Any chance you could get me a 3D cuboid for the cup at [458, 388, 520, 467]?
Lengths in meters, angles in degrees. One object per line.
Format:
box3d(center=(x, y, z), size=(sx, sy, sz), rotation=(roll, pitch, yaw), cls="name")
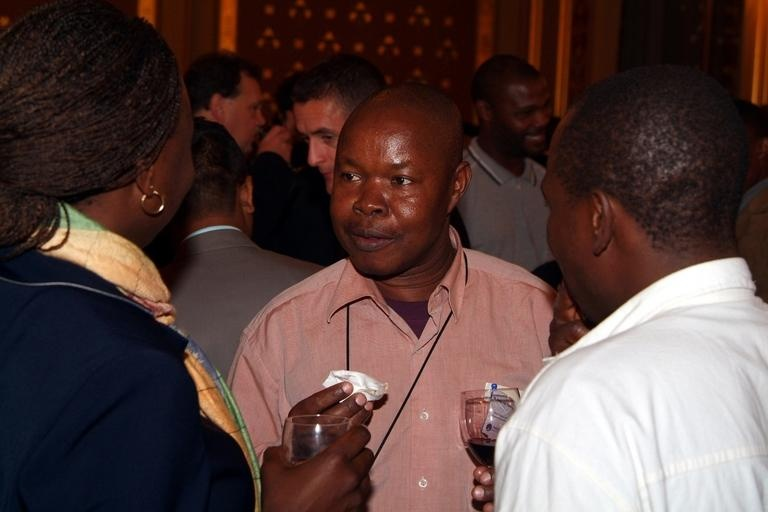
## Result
box3d(center=(0.309, 0.526, 2.127), size=(0.150, 0.244, 0.148), rotation=(-1, 3, 0), cls="cup")
